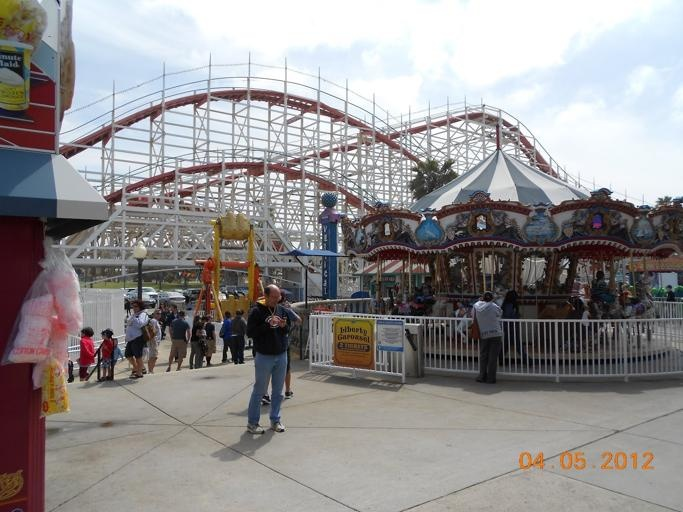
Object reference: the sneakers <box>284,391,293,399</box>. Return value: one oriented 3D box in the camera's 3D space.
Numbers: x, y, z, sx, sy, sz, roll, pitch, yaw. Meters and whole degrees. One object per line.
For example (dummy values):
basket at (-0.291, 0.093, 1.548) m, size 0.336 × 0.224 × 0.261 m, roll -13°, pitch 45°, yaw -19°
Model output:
sneakers at (-0.863, 2.262, 9.022) m, size 0.076 × 0.091 × 0.212 m, roll -2°, pitch -11°, yaw 4°

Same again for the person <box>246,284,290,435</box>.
person at (-0.975, 1.331, 7.348) m, size 0.566 × 1.942 × 0.662 m, roll -1°, pitch 3°, yaw -6°

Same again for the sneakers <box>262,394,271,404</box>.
sneakers at (-1.155, 2.205, 8.557) m, size 0.131 × 0.158 × 0.369 m, roll -1°, pitch -11°, yaw 6°

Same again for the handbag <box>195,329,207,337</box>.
handbag at (-3.398, 1.863, 13.439) m, size 0.164 × 0.156 × 0.166 m, roll 0°, pitch -19°, yaw -10°

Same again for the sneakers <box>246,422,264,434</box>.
sneakers at (-1.118, 2.237, 7.199) m, size 0.106 × 0.099 × 0.227 m, roll 4°, pitch -11°, yaw -39°

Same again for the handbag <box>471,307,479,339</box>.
handbag at (2.430, 1.213, 10.011) m, size 0.138 × 0.601 × 0.317 m, roll 0°, pitch 3°, yaw 11°

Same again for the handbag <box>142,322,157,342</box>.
handbag at (-3.908, 1.517, 11.264) m, size 0.179 × 0.348 × 0.383 m, roll -1°, pitch 2°, yaw -10°
